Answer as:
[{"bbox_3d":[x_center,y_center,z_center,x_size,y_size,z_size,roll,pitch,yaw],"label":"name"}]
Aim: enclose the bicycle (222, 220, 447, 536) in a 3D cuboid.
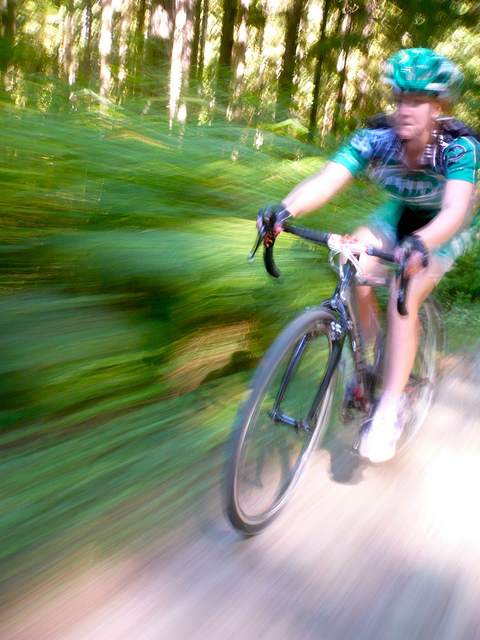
[{"bbox_3d":[0.345,0.148,2.101,0.663,0.934,1.654,24,12,28],"label":"bicycle"}]
